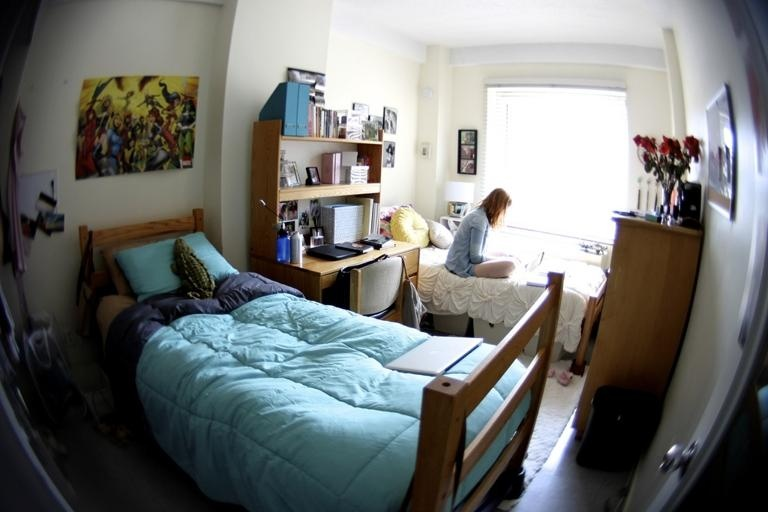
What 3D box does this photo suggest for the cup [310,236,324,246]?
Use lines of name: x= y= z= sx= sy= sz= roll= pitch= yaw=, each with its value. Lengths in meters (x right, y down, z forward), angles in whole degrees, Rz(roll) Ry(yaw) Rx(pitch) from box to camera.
cup: x=-0.317 y=-0.075 z=2.359 sx=0.058 sy=0.060 sz=0.042 roll=-4 pitch=9 yaw=-44

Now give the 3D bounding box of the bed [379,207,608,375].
bed: x=0.607 y=0.158 z=2.559 sx=0.766 sy=0.221 sz=0.804 roll=11 pitch=19 yaw=20

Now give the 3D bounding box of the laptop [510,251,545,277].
laptop: x=0.767 y=0.044 z=2.672 sx=0.141 sy=0.095 sz=0.153 roll=-7 pitch=18 yaw=37

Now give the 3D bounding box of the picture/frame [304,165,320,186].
picture/frame: x=-0.370 y=-0.410 z=2.526 sx=0.058 sy=0.107 sz=0.104 roll=2 pitch=7 yaw=29
